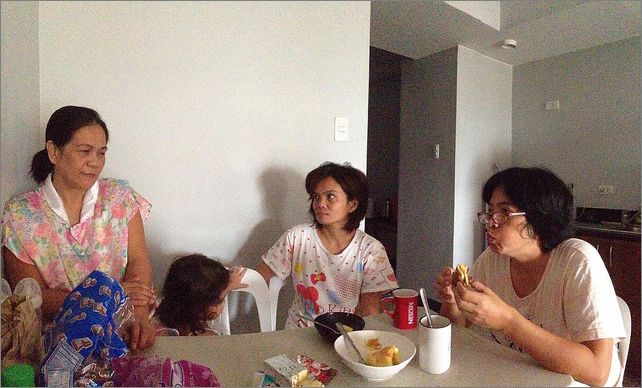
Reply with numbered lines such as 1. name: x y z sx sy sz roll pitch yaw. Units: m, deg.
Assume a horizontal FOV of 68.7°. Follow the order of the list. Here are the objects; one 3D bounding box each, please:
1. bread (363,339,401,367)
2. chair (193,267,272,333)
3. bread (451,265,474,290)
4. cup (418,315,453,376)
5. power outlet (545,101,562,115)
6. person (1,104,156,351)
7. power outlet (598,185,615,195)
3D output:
1. bread: 0.292 0.752 2.223 0.166 0.076 0.172 0 5 5
2. chair: -0.537 0.643 3.070 0.413 0.501 0.386 1 0 -9
3. bread: 0.716 0.418 2.378 0.057 0.117 0.113 0 -25 -6
4. cup: 0.545 0.715 2.234 0.150 0.247 0.117 -5 7 -35
5. power outlet: 2.407 -0.903 4.861 0.023 0.112 0.161 2 0 -32
6. person: -1.389 0.101 2.643 0.784 1.184 0.304 -2 6 -16
7. power outlet: 2.757 -0.048 4.533 0.076 0.094 0.136 1 -1 -31
